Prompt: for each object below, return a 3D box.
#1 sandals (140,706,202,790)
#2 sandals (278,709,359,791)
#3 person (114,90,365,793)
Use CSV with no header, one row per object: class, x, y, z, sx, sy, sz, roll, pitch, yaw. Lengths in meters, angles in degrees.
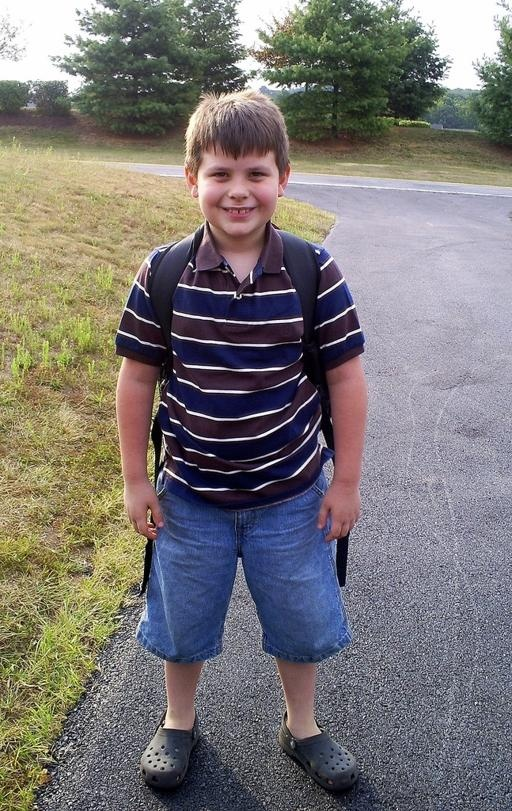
sandals,-0.241,0.972,1.690,0.114,0.092,0.261,4,7,9
sandals,0.170,0.978,1.680,0.098,0.078,0.204,-10,6,-29
person,-0.040,0.153,1.482,0.560,1.662,0.416,1,13,0
